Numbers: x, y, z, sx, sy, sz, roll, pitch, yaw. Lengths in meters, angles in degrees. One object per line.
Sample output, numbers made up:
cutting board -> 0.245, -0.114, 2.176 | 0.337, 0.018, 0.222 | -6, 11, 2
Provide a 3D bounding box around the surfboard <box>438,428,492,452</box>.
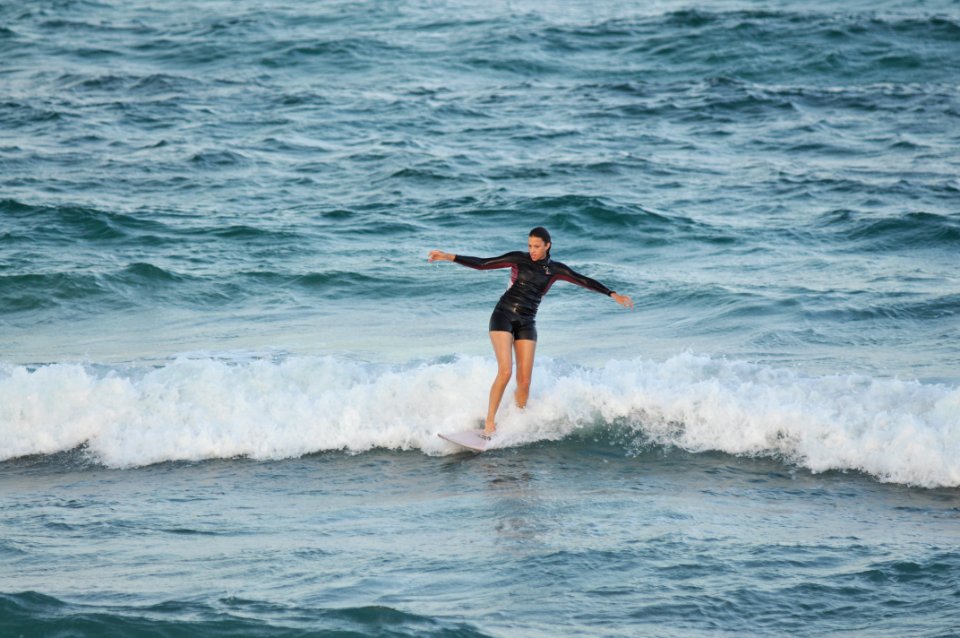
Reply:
surfboard -> -0.280, 2.574, 37.734 | 1.004, 0.307, 0.638 | 10, 21, 15
